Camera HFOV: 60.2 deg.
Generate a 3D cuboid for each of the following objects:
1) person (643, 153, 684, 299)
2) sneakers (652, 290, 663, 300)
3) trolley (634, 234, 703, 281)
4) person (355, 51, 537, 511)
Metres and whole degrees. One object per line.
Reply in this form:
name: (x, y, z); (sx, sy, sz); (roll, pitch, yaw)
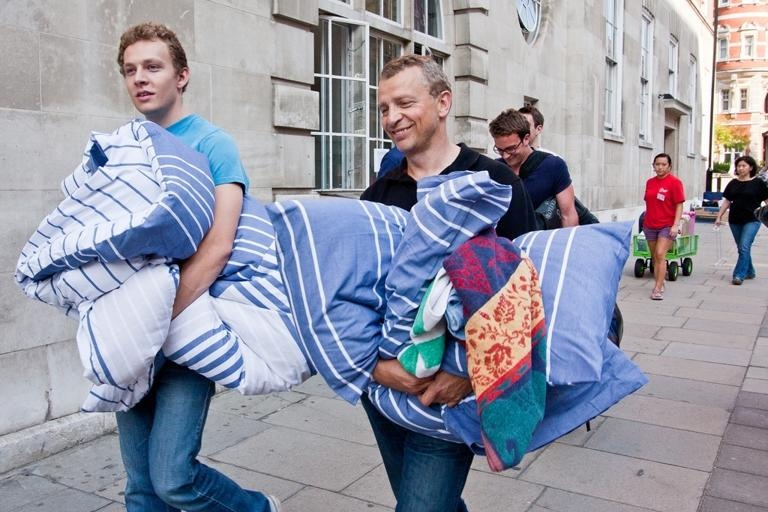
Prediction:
person: (4.221, -0.480, 10.034); (0.544, 2.098, 1.185); (4, 12, 23)
sneakers: (4.009, 0.549, 9.691); (0.156, 0.114, 0.279); (4, 12, 22)
trolley: (4.951, -0.019, 11.635); (0.727, 0.745, 1.196); (7, 9, 40)
person: (0.304, 0.147, 3.406); (0.841, 2.327, 1.096); (-1, 11, -2)
